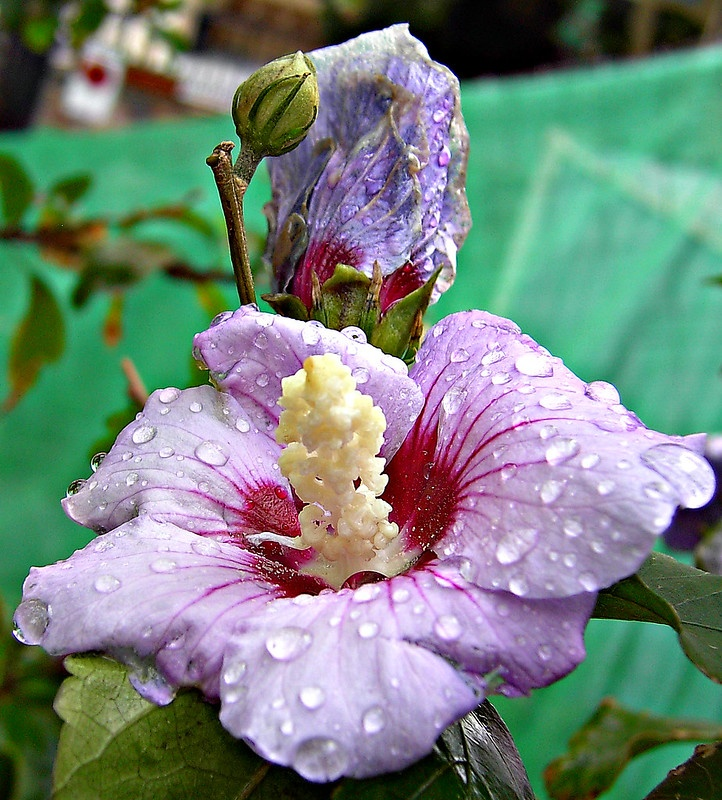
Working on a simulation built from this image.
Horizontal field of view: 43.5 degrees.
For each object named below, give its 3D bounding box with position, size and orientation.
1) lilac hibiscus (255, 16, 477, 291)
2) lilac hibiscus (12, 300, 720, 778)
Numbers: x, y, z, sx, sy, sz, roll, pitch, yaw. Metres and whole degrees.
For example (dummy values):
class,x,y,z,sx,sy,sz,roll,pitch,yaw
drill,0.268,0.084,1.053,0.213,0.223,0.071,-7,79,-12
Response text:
class,x,y,z,sx,sy,sz,roll,pitch,yaw
lilac hibiscus,0.025,-0.211,0.877,0.227,0.090,0.224,8,88,28
lilac hibiscus,0.000,0.142,0.683,0.459,0.407,0.119,-12,98,18
